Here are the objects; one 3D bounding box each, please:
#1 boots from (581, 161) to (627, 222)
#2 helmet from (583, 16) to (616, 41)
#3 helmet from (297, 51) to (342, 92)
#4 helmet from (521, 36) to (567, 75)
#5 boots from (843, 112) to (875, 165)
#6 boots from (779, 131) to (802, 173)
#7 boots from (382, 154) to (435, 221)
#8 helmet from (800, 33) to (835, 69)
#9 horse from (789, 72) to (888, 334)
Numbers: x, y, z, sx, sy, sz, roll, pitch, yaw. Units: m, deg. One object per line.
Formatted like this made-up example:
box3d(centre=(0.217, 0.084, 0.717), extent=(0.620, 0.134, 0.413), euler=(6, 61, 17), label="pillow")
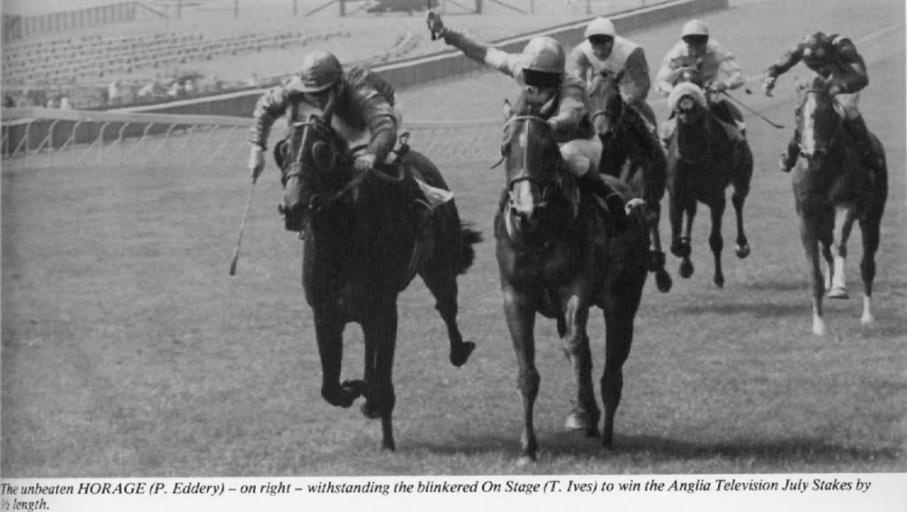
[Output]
box3d(centre=(1.371, -0.571, 15.912), extent=(0.141, 0.546, 0.302), euler=(-44, 26, 1), label="boots")
box3d(centre=(1.455, -2.239, 17.005), extent=(0.226, 0.131, 0.270), euler=(1, -3, 5), label="helmet")
box3d(centre=(-1.313, -1.760, 16.590), extent=(0.354, 0.425, 0.220), euler=(11, -36, 11), label="helmet")
box3d(centre=(0.791, -1.858, 15.653), extent=(0.515, 0.259, 0.396), euler=(10, 19, 15), label="helmet")
box3d(centre=(4.065, -1.146, 17.284), extent=(0.117, 0.478, 0.266), euler=(-23, -13, 10), label="boots")
box3d(centre=(3.405, -1.037, 17.338), extent=(0.225, 0.372, 0.154), euler=(12, 20, 24), label="boots")
box3d(centre=(-0.468, -0.627, 16.759), extent=(0.178, 0.586, 0.347), euler=(-32, -10, 37), label="boots")
box3d(centre=(3.679, -2.055, 17.363), extent=(0.283, 0.318, 0.370), euler=(-22, 5, 4), label="helmet")
box3d(centre=(3.883, -0.486, 17.315), extent=(0.935, 2.584, 0.427), euler=(-1, 6, 7), label="horse")
